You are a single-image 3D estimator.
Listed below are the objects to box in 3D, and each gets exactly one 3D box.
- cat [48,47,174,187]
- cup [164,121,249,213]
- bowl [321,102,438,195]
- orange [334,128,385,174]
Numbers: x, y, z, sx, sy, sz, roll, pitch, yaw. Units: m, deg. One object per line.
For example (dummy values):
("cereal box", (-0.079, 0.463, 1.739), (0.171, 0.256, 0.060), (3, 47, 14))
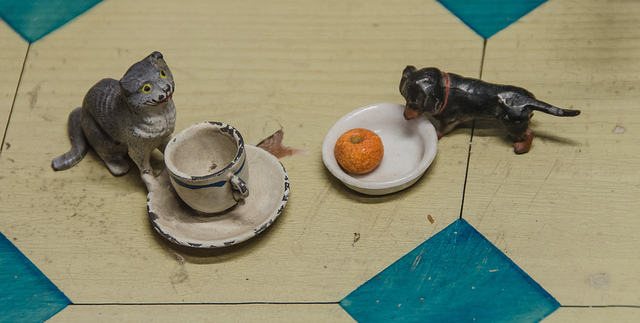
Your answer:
("cat", (-0.957, -0.226, 3.461), (0.737, 0.614, 0.424), (0, 51, -7))
("cup", (-0.516, 0.037, 3.338), (0.329, 0.279, 0.407), (5, 43, 10))
("bowl", (0.297, -0.045, 3.492), (0.405, 0.203, 0.433), (-3, 34, 2))
("orange", (0.186, -0.048, 3.517), (0.220, 0.186, 0.202), (-14, 48, 0))
